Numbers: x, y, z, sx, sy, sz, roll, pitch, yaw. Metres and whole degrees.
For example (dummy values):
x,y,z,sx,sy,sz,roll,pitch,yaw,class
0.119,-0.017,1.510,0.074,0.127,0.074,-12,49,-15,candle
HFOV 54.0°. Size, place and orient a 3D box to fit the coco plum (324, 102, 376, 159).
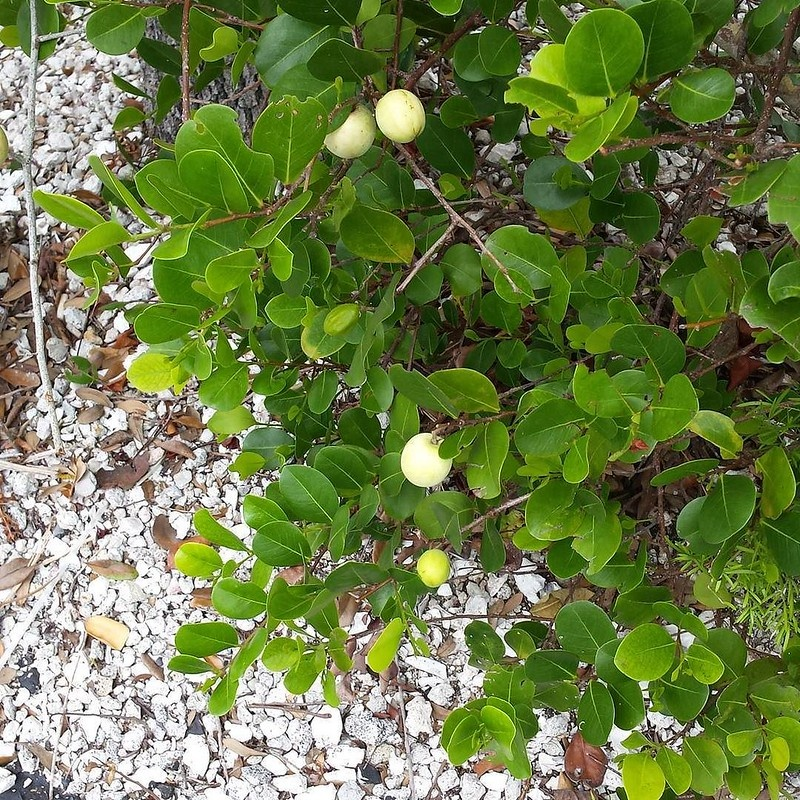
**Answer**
x,y,z,sx,sy,sz,roll,pitch,yaw,class
-0.067,-0.365,1.115,0.079,0.083,0.065,4,68,-9,coco plum
